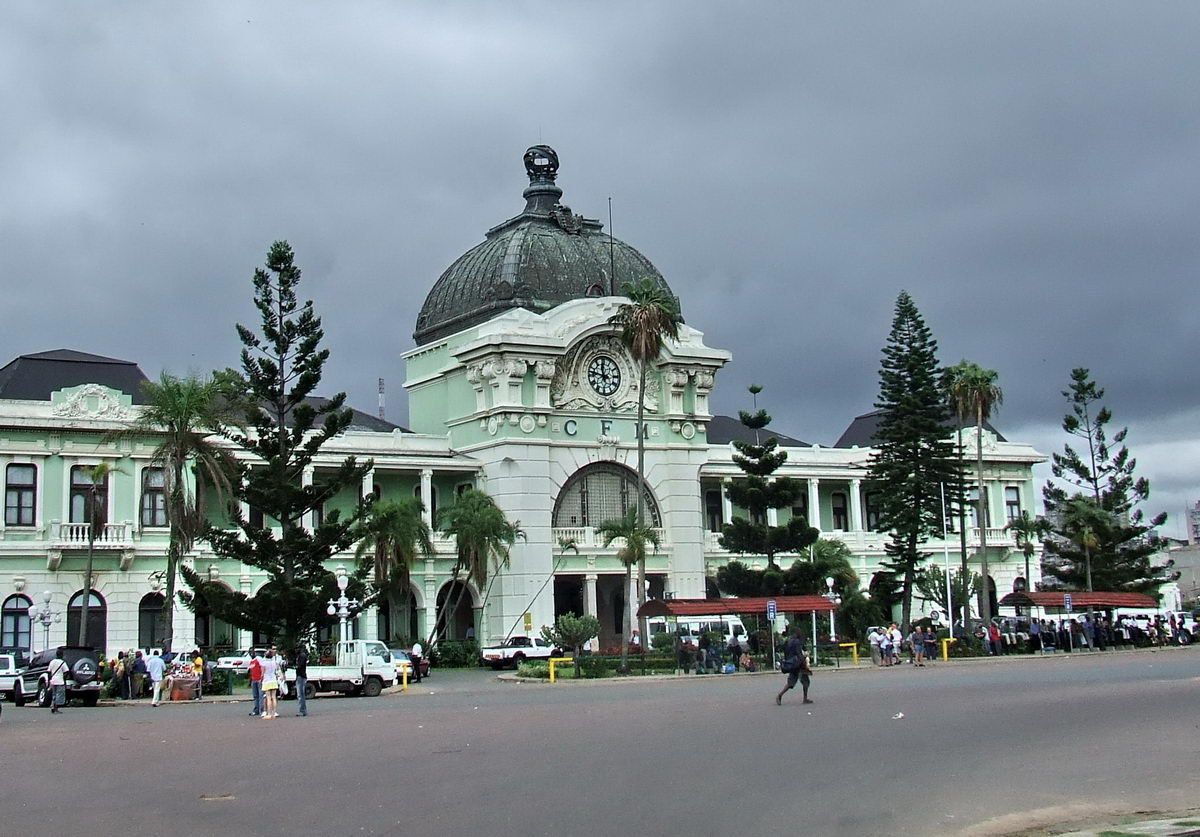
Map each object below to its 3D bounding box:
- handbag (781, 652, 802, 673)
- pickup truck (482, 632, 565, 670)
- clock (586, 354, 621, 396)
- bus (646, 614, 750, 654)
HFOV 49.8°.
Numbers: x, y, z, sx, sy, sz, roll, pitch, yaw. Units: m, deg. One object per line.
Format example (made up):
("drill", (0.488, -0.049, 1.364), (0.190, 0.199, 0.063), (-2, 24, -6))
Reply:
("handbag", (5.023, 6.576, 34.025), (0.631, 0.652, 0.484), (0, 2, 10))
("pickup truck", (-3.662, 10.793, 59.887), (2.928, 1.166, 1.639), (-3, -1, -18))
("clock", (0.047, -2.279, 69.946), (1.671, 1.770, 0.121), (-26, 9, -38))
("bus", (4.052, 9.216, 54.427), (4.123, 2.054, 1.689), (-1, -2, -2))
